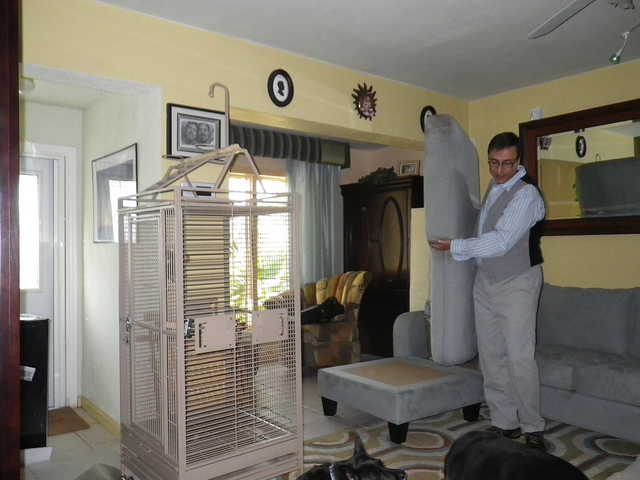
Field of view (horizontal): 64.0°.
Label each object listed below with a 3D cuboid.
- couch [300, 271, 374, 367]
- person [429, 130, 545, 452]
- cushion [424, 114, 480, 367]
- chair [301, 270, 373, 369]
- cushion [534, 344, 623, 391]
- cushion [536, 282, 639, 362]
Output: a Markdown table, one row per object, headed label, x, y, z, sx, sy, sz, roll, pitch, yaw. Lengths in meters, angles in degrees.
| label | x | y | z | sx | sy | sz | roll | pitch | yaw |
| --- | --- | --- | --- | --- | --- | --- | --- | --- | --- |
| couch | 0.125 | 0.932 | 5.983 | 1.037 | 1.102 | 0.997 | -2 | -5 | -34 |
| person | 1.251 | 0.356 | 3.537 | 0.563 | 2.136 | 0.360 | -2 | 1 | 25 |
| cushion | 0.989 | 0.019 | 3.773 | 0.417 | 1.222 | 0.344 | -2 | 1 | 5 |
| chair | 0.033 | 0.951 | 6.043 | 1.008 | 1.126 | 1.061 | -6 | -5 | -5 |
| cushion | 1.812 | 0.932 | 3.785 | 0.375 | 0.103 | 0.409 | 3 | 5 | 31 |
| cushion | 2.133 | 0.687 | 4.097 | 0.204 | 0.434 | 0.575 | 2 | 0 | -41 |
